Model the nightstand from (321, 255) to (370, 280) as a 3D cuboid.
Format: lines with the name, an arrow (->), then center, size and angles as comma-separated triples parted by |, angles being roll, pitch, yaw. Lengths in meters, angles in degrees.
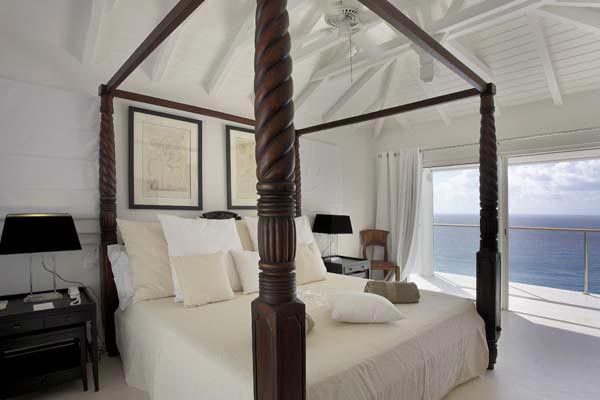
nightstand -> 0.714, 1.016, 5.932 | 0.418, 0.581, 0.587 | -1, 0, 37

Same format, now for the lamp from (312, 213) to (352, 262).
lamp -> 0.531, 0.460, 5.976 | 0.407, 0.634, 0.412 | -4, -6, 36

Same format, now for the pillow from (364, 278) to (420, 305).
pillow -> 0.975, 0.939, 3.917 | 0.397, 0.153, 0.271 | 2, -2, 1
